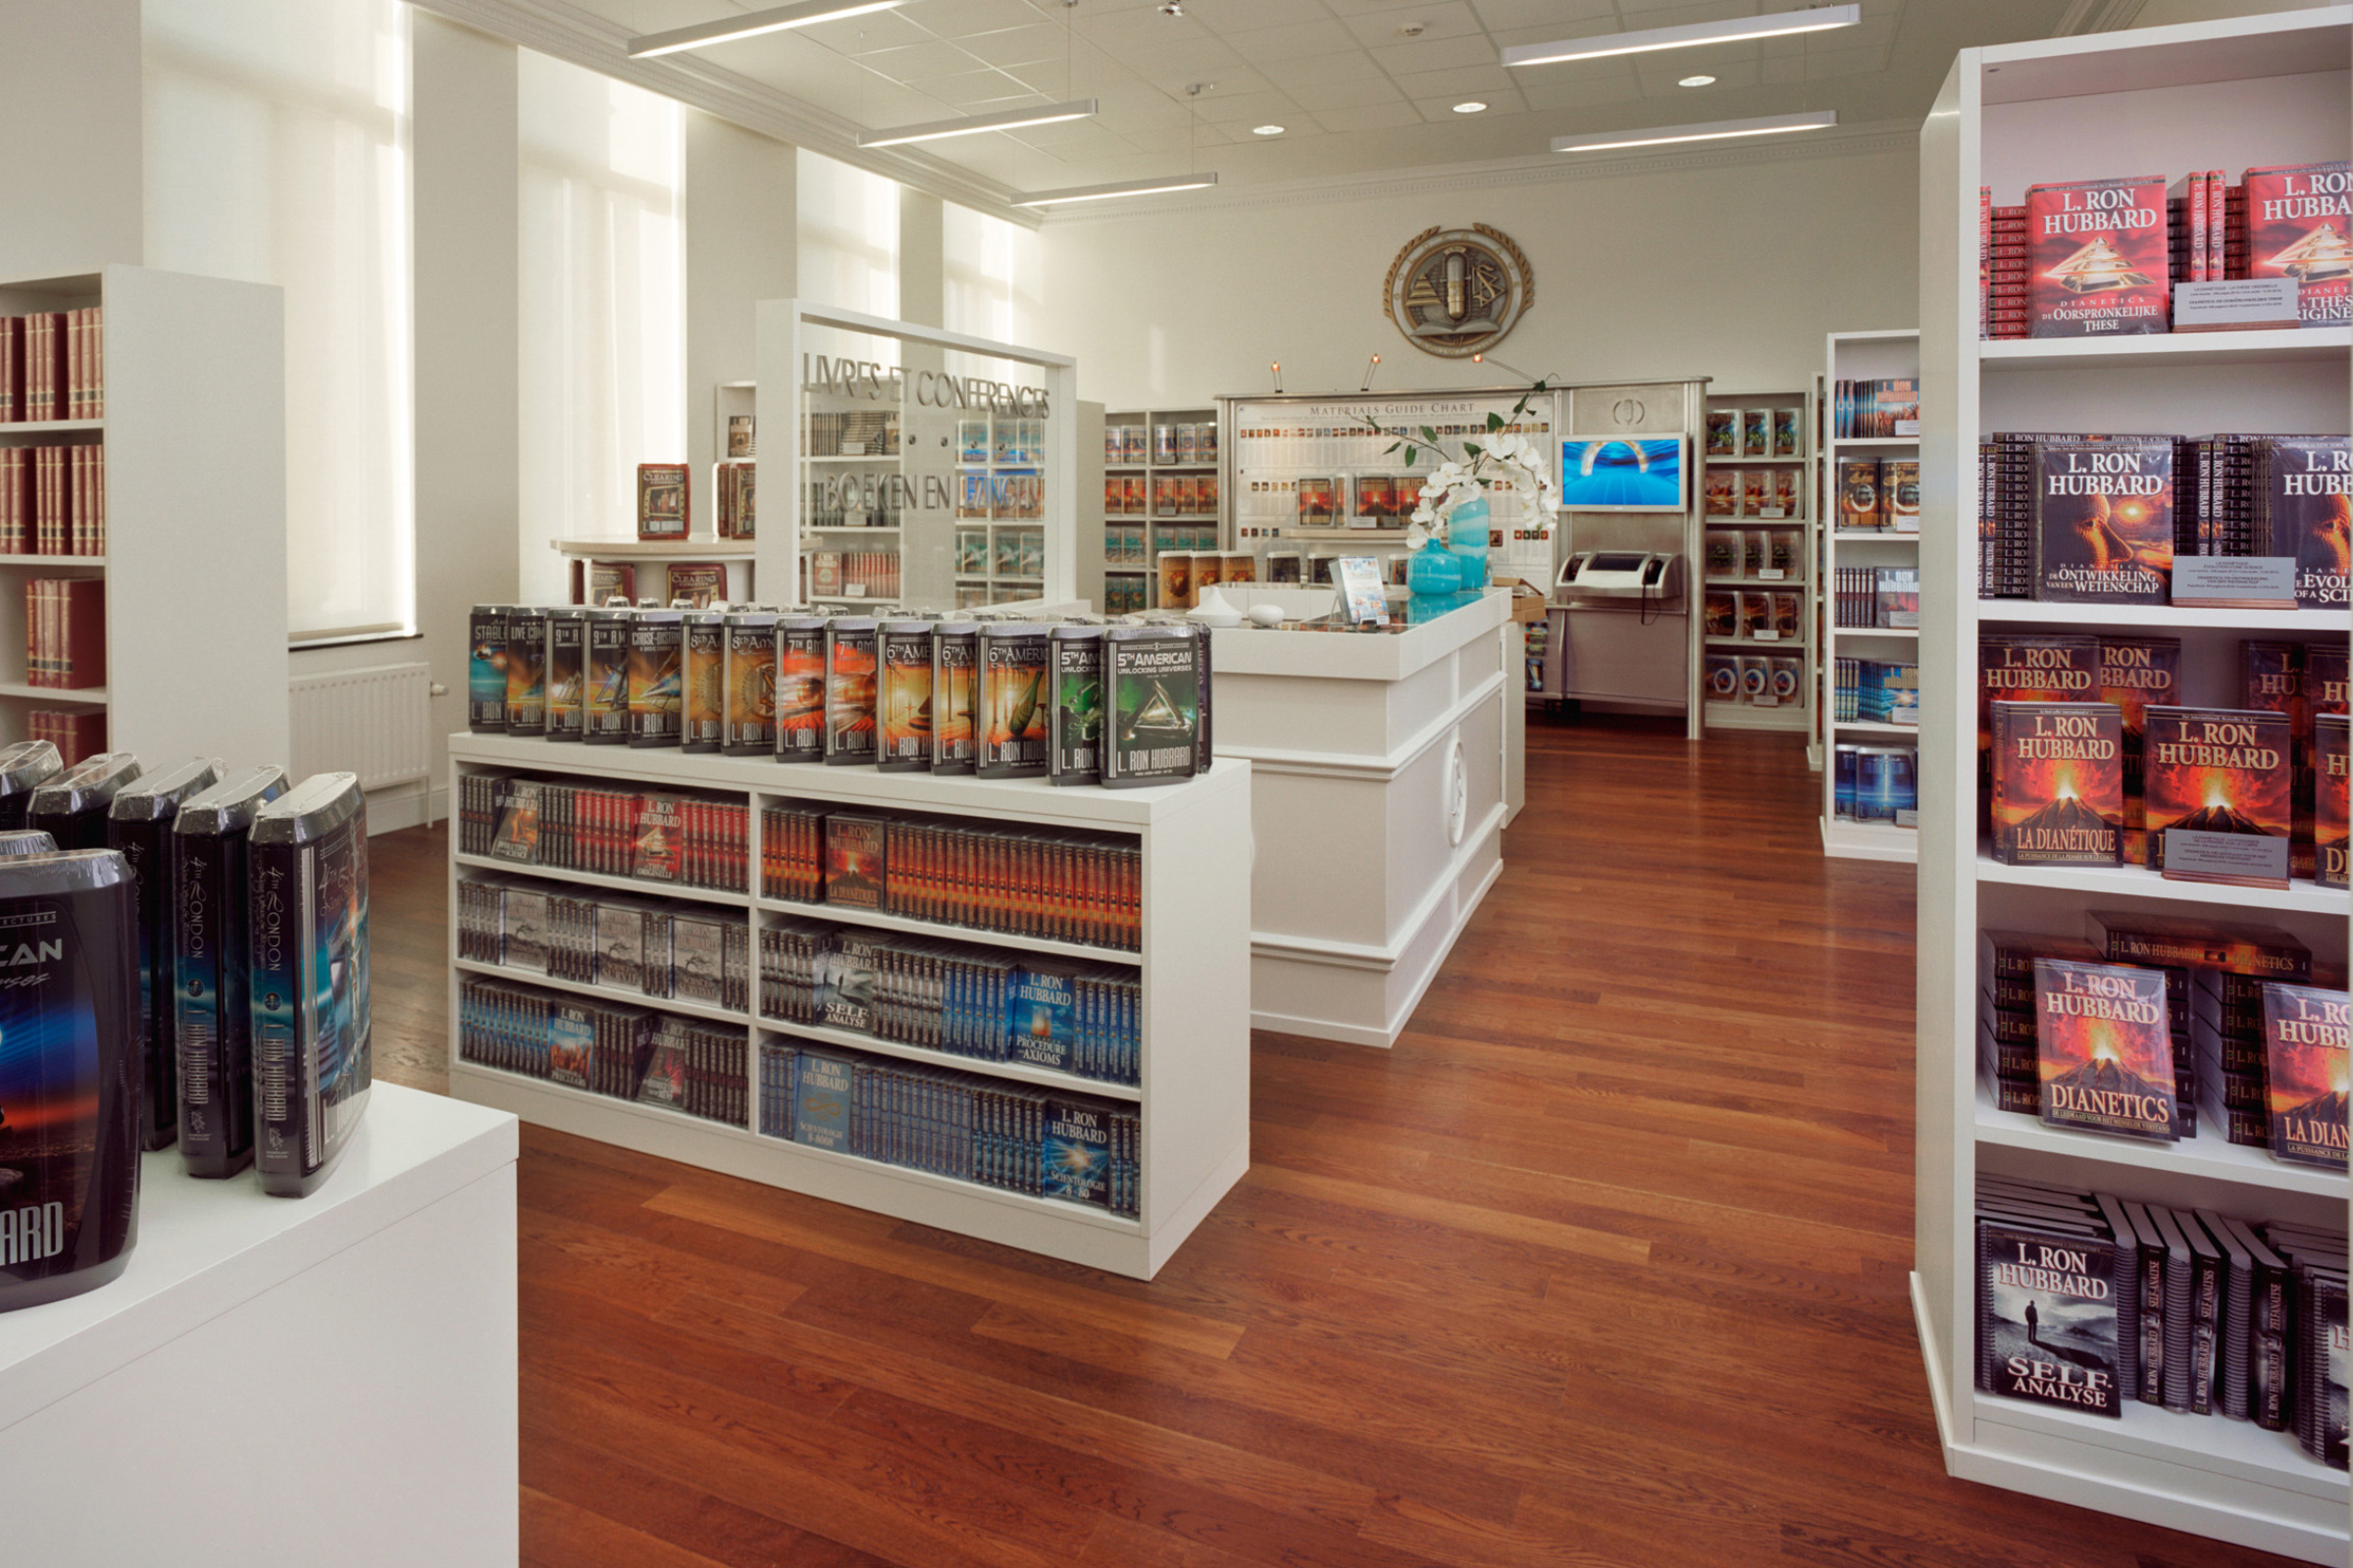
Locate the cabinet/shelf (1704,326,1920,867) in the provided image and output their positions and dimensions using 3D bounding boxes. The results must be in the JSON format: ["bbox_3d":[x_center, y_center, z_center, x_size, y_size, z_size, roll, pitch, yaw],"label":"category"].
[{"bbox_3d":[3.592,-1.134,9.282,1.070,3.144,3.348,0,3,10],"label":"cabinet/shelf"}]
